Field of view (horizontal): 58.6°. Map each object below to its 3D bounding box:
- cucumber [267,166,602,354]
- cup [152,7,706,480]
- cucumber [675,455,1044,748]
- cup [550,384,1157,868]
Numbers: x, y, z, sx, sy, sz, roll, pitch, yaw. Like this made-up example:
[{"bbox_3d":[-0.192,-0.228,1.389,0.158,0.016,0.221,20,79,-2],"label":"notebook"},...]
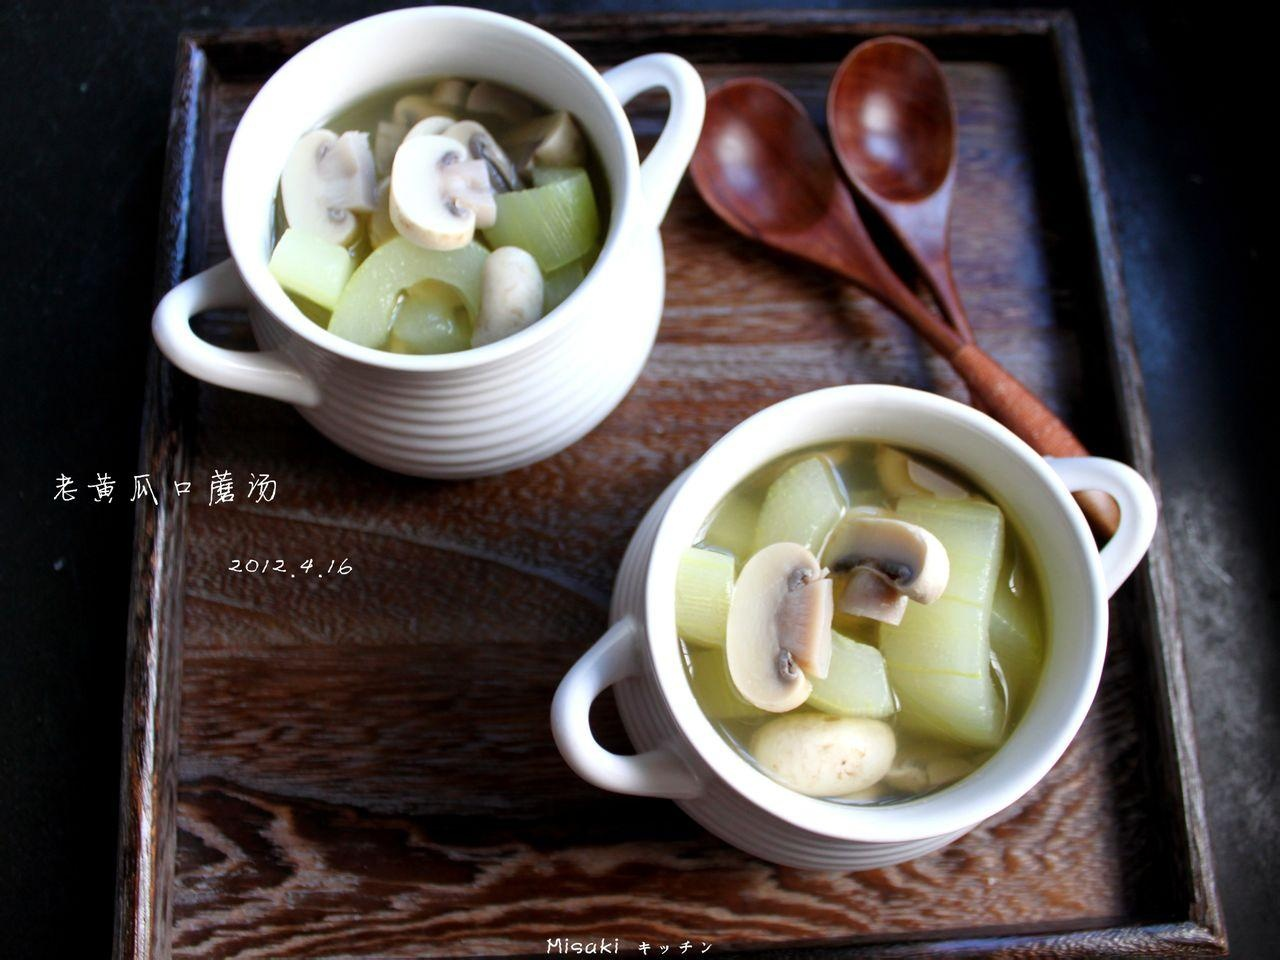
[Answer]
[{"bbox_3d":[-0.223,-0.245,1.325,0.257,0.055,0.259,-32,71,-2],"label":"cucumber"},{"bbox_3d":[-0.227,-0.277,1.372,0.511,0.289,0.533,1,72,-3],"label":"cup"},{"bbox_3d":[0.245,0.135,1.274,0.329,0.140,0.318,26,84,1],"label":"cucumber"},{"bbox_3d":[0.226,0.166,1.269,0.514,0.308,0.531,1,72,-3],"label":"cup"}]
